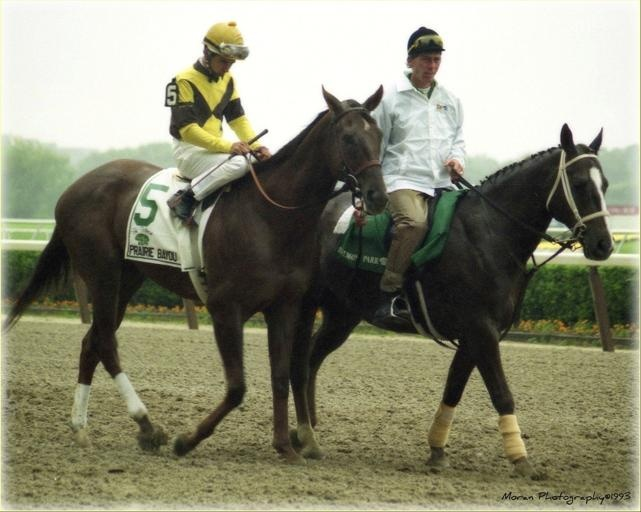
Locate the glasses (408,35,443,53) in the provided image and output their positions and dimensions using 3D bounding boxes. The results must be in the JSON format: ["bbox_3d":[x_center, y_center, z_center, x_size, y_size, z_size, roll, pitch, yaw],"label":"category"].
[{"bbox_3d":[0.801,-1.613,6.049,0.272,0.131,0.143,2,5,8],"label":"glasses"}]

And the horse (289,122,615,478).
[{"bbox_3d":[0.940,0.274,5.885,2.245,2.453,0.723,3,5,19],"label":"horse"}]

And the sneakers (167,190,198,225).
[{"bbox_3d":[-0.972,-0.357,5.733,0.189,0.256,0.113,-26,-15,-1],"label":"sneakers"}]

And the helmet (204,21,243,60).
[{"bbox_3d":[-0.696,-1.581,5.841,0.318,0.278,0.154,4,5,28],"label":"helmet"}]
